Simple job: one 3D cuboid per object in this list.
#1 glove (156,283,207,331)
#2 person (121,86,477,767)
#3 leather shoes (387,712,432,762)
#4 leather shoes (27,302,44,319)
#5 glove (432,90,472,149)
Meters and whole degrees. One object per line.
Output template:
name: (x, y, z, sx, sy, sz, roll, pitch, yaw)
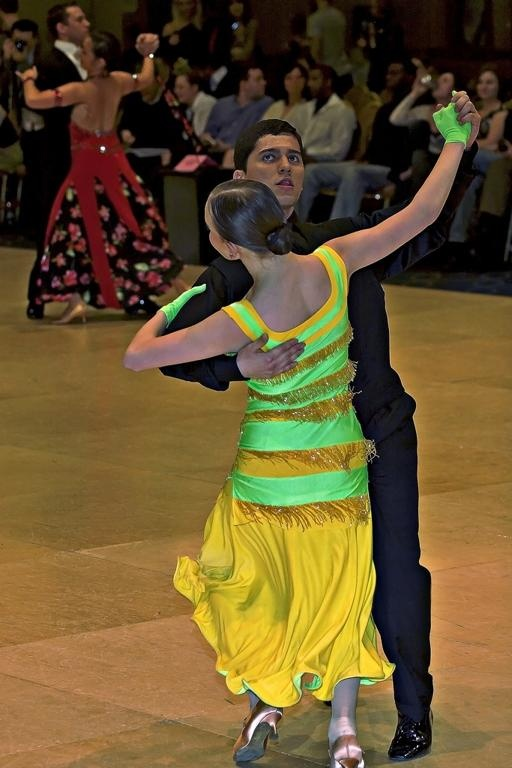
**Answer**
glove: (-0.147, -0.151, 1.482, 0.088, 0.085, 0.143, -1, 2, -8)
person: (0.076, 0.090, 1.513, 0.552, 1.399, 0.592, 1, 3, 32)
leather shoes: (0.324, 0.731, 1.542, 0.048, 0.083, 0.139, -4, 0, 32)
leather shoes: (-2.434, -0.803, 8.162, 0.207, 0.177, 0.196, 11, 8, 33)
glove: (0.433, -0.576, 1.614, 0.093, 0.101, 0.050, 4, 11, 12)
